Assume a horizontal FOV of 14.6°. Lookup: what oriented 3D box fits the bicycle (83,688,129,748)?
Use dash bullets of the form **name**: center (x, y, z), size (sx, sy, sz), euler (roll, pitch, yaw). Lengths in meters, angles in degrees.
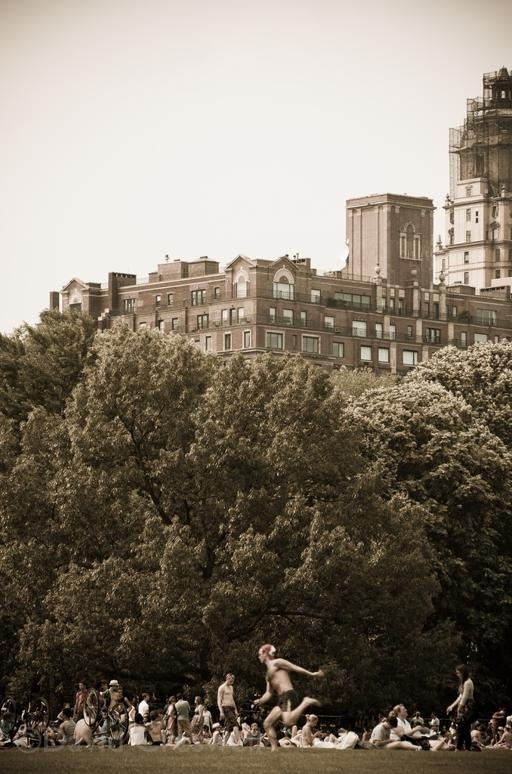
- **bicycle**: center (-3.456, 7.637, 46.197), size (0.677, 1.076, 1.566), euler (-3, 13, 0)
